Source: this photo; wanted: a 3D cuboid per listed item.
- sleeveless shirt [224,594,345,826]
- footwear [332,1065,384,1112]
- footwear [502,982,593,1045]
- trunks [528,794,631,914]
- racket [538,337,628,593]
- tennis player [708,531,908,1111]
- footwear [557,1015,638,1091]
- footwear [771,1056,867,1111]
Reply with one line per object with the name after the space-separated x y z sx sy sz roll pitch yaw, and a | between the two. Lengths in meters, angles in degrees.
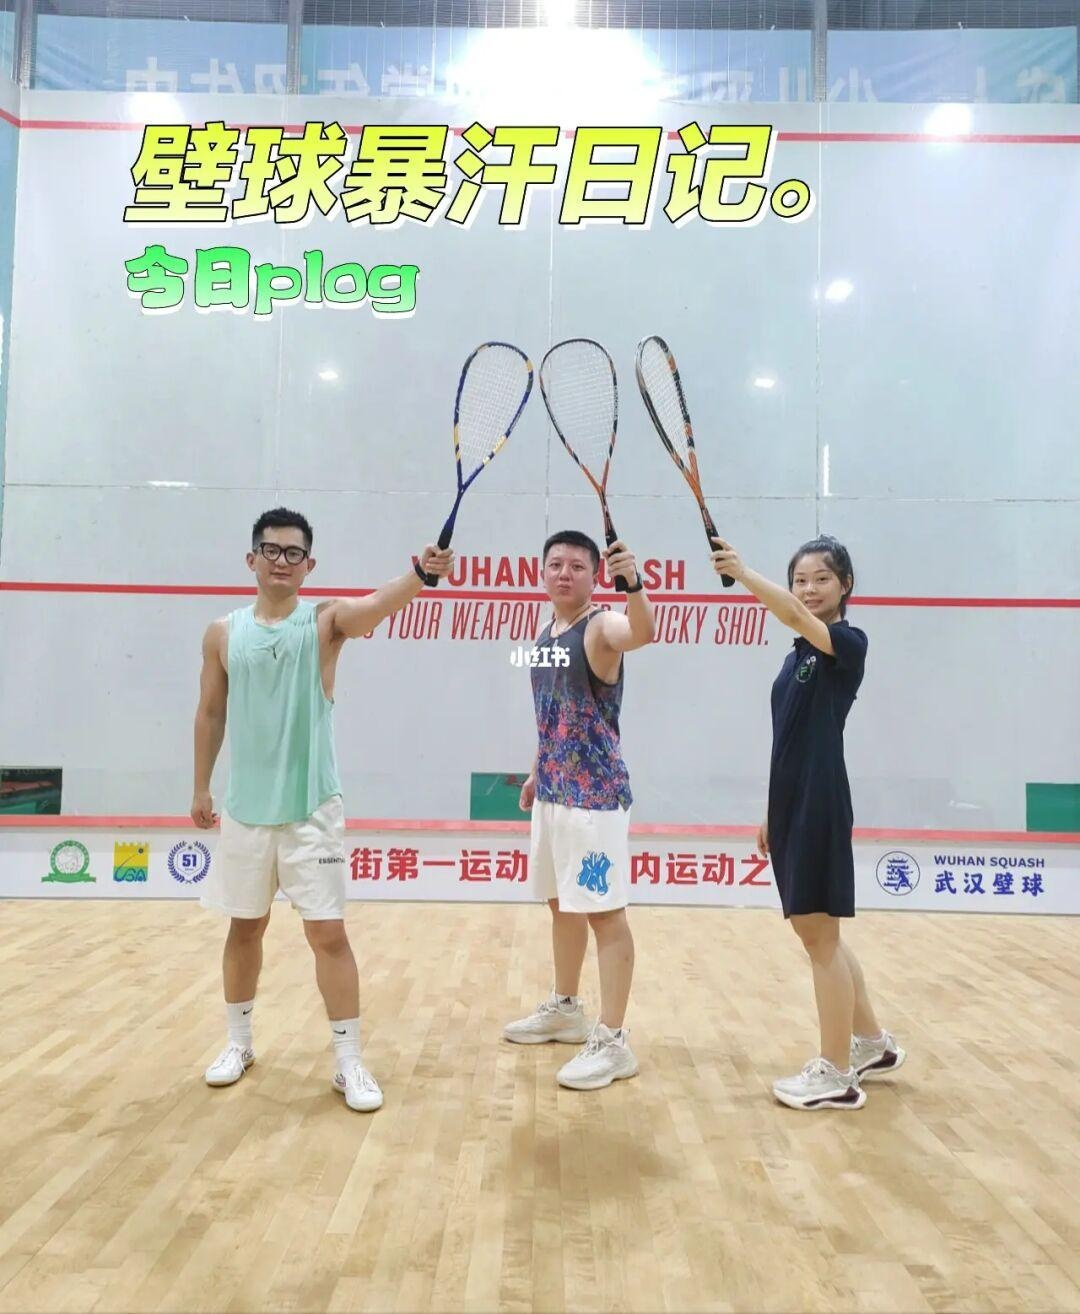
-0.630 0.135 2.468 0.290 0.523 0.112 0 -3 16 | sleeveless shirt
-0.412 0.979 2.346 0.052 0.077 0.160 7 -15 -22 | footwear
0.031 1.016 2.941 0.271 0.185 0.117 2 -10 -7 | footwear
0.094 0.532 2.686 0.267 0.303 0.190 0 -3 16 | trunks
0.133 -0.673 3.012 0.176 1.030 0.045 -3 -25 -6 | racket
0.630 0.373 2.425 0.317 1.364 0.837 -1 -3 29 | tennis player
0.149 0.995 2.536 0.222 0.179 0.094 14 -20 -34 | footwear
0.654 1.003 2.452 0.216 0.149 0.103 2 -16 -1 | footwear
